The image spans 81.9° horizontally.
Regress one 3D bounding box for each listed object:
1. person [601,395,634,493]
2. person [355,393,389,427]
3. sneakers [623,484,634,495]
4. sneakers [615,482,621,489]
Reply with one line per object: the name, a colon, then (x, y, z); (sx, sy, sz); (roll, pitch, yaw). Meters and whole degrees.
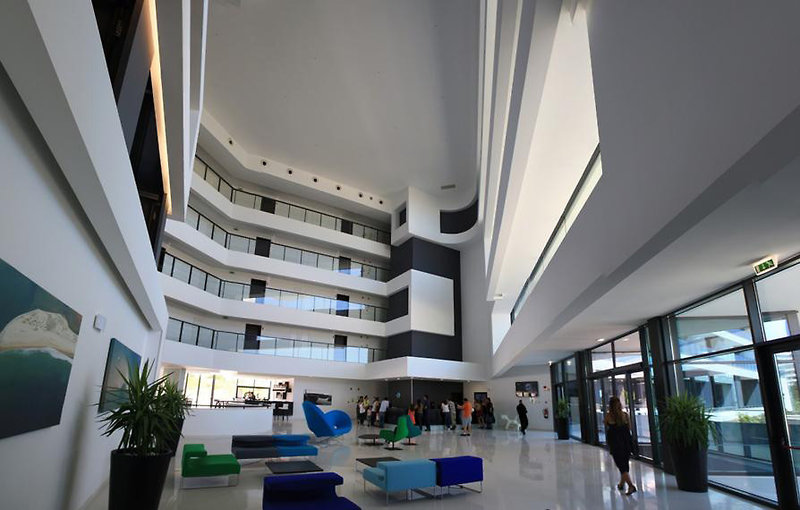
person: (3.829, 3.344, 8.156); (0.395, 1.558, 0.569); (-8, -24, 22)
person: (-1.302, 6.920, 20.351); (0.792, 1.270, 2.024); (15, -26, -30)
sneakers: (3.830, 3.956, 7.784); (0.140, 0.138, 0.379); (-13, -27, 30)
sneakers: (3.731, 3.976, 7.913); (0.101, 0.108, 0.172); (-8, -25, 23)
